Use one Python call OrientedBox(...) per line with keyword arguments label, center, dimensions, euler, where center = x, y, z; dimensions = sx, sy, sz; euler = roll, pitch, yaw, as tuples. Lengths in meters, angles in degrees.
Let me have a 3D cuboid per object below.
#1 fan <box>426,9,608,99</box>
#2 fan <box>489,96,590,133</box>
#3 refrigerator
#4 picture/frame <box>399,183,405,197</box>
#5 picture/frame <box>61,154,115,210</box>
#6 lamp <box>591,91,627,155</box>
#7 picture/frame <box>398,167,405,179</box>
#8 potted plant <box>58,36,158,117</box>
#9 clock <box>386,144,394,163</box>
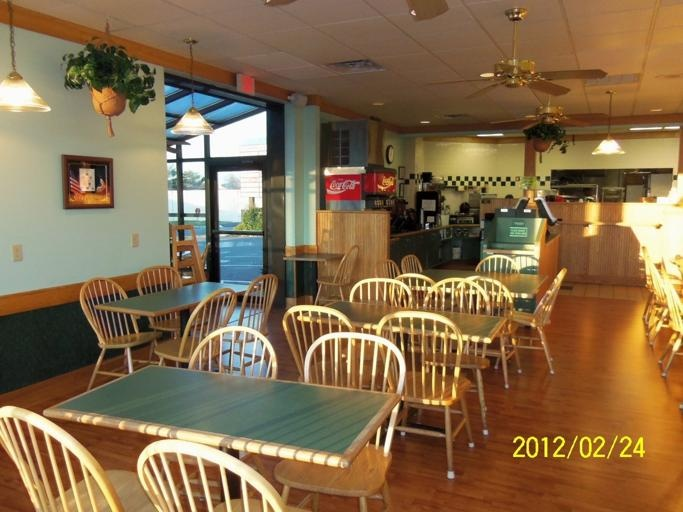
OrientedBox(label="fan", center=(1.648, -1.660, 4.744), dimensions=(1.146, 0.506, 1.179), euler=(9, 11, 44))
OrientedBox(label="fan", center=(2.701, -1.902, 6.951), dimensions=(0.839, 0.154, 0.911), euler=(-16, 31, -3))
OrientedBox(label="refrigerator", center=(0.358, -1.103, 8.650), dimensions=(1.489, 0.776, 0.778), euler=(-11, 17, -41))
OrientedBox(label="picture/frame", center=(1.304, -1.442, 11.359), dimensions=(0.108, 0.301, 0.327), euler=(3, 6, 18))
OrientedBox(label="picture/frame", center=(-2.477, -0.726, 5.081), dimensions=(0.042, 0.570, 0.603), euler=(4, 4, 34))
OrientedBox(label="lamp", center=(4.041, -2.003, 7.908), dimensions=(0.515, 0.825, 0.474), euler=(3, 9, 19))
OrientedBox(label="picture/frame", center=(1.296, -1.825, 11.403), dimensions=(0.032, 0.274, 0.296), euler=(1, 5, 32))
OrientedBox(label="potted plant", center=(-2.078, -1.647, 4.723), dimensions=(0.813, 0.401, 0.779), euler=(23, 5, -12))
OrientedBox(label="clock", center=(0.916, -1.949, 9.959), dimensions=(0.075, 0.407, 0.438), euler=(2, 15, 24))
